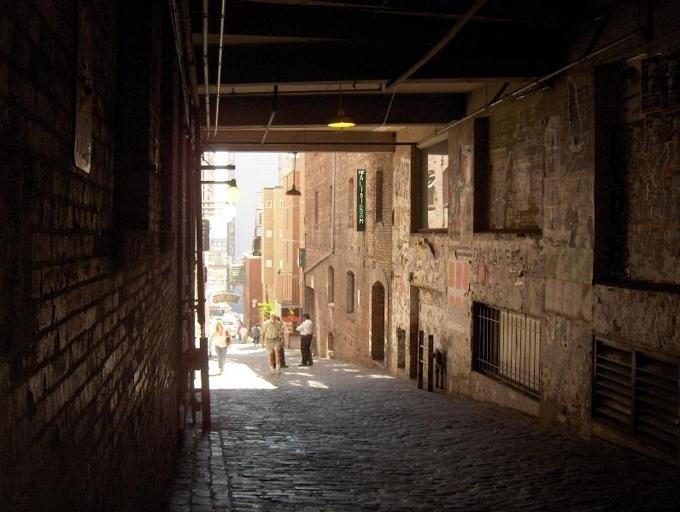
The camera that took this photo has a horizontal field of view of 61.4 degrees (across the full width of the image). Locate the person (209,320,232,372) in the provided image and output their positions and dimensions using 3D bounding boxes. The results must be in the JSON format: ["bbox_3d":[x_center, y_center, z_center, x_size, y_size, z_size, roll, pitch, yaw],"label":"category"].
[{"bbox_3d":[-3.333,2.530,15.877,0.511,1.486,0.516,-1,9,-8],"label":"person"}]
